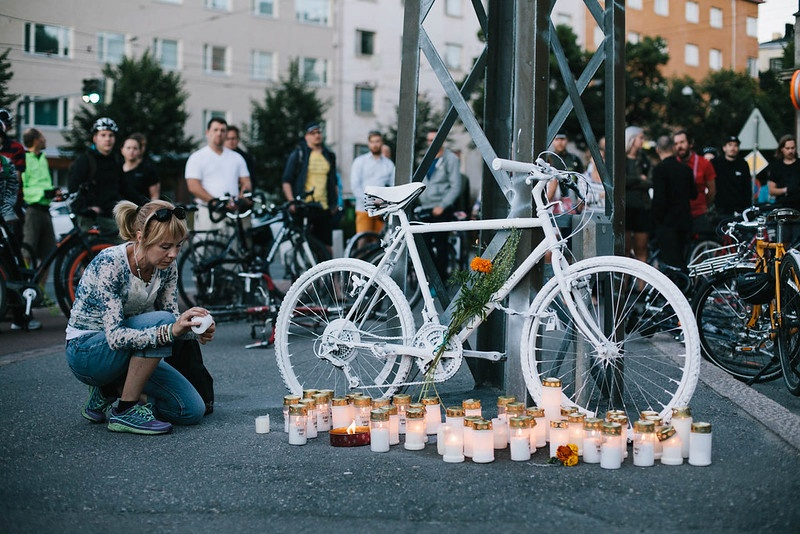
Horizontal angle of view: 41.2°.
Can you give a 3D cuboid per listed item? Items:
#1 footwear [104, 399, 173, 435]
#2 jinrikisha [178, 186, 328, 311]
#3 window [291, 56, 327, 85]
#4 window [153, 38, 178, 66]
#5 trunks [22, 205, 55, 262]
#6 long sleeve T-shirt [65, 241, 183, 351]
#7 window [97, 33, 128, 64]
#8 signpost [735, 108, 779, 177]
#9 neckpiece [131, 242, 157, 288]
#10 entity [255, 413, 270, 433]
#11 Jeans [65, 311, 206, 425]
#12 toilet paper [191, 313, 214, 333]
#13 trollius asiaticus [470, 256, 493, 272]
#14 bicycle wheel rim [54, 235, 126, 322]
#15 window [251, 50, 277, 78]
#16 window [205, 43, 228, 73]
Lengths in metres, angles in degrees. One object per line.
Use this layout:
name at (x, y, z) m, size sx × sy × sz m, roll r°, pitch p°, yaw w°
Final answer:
footwear at (-2.338, 1.368, 9.622) m, size 0.636 × 0.335 × 0.240 m, roll 2°, pitch -5°, yaw 1°
jinrikisha at (-1.926, -0.102, 13.414) m, size 1.993 × 1.398 × 1.040 m, roll -5°, pitch -5°, yaw 24°
window at (-1.111, -2.425, 13.087) m, size 0.434 × 0.308 × 0.586 m, roll 0°, pitch 8°, yaw -5°
window at (-3.228, -2.992, 14.657) m, size 0.295 × 0.337 × 0.045 m, roll -3°, pitch -19°, yaw -13°
trunks at (-5.046, -0.480, 14.765) m, size 0.425 × 0.861 × 0.273 m, roll -24°, pitch 57°, yaw -32°
long sleeve T-shirt at (-2.493, 0.321, 9.643) m, size 0.971 × 1.054 × 0.837 m, roll 17°, pitch 4°, yaw 30°
window at (-3.786, -2.880, 13.859) m, size 0.288 × 0.438 × 0.424 m, roll 10°, pitch -3°, yaw 7°
signpost at (4.866, -1.746, 14.465) m, size 0.101 × 1.296 × 0.681 m, roll -16°, pitch 18°, yaw -36°
neckpiece at (-2.294, -0.020, 9.445) m, size 0.192 × 0.351 × 0.094 m, roll -9°, pitch 14°, yaw -23°
entity at (-1.228, 1.406, 9.538) m, size 0.125 × 0.157 × 0.134 m, roll 1°, pitch -7°, yaw -6°
Jeans at (-2.361, 0.949, 9.644) m, size 1.100 × 0.790 × 1.016 m, roll 22°, pitch 2°, yaw 2°
toilet paper at (-1.751, 0.503, 9.403) m, size 0.191 × 0.197 × 0.133 m, roll 0°, pitch 7°, yaw -10°
trollius asiaticus at (0.751, -0.024, 9.735) m, size 0.199 × 0.131 × 0.171 m, roll 2°, pitch 7°, yaw 4°
bicycle wheel rim at (-4.086, 0.032, 13.383) m, size 1.091 × 1.203 × 0.261 m, roll 5°, pitch -2°, yaw -31°
window at (-1.727, -2.623, 13.569) m, size 0.274 × 0.348 × 0.046 m, roll 6°, pitch 16°, yaw 14°
window at (-2.403, -2.766, 13.913) m, size 0.342 × 0.429 × 0.059 m, roll 5°, pitch 50°, yaw 5°
